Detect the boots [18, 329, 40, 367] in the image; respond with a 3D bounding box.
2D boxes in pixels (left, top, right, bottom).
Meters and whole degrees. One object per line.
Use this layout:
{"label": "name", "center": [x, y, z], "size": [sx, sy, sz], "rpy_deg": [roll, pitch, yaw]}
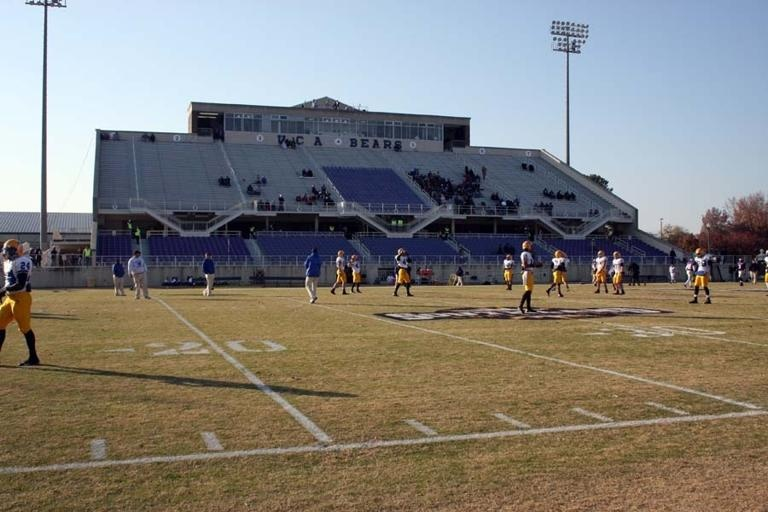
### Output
{"label": "boots", "center": [-6.133, 1.583, 12.680], "size": [0.293, 0.583, 0.574], "rpy_deg": [0, -1, -25]}
